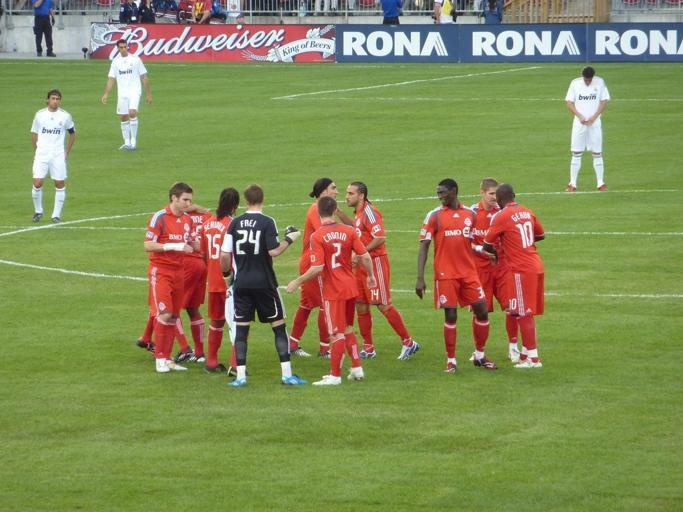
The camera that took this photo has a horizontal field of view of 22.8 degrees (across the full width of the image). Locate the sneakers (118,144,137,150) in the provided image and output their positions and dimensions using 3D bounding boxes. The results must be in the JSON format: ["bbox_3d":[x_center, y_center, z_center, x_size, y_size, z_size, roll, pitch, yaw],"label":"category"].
[{"bbox_3d":[-6.017,-2.944,47.149,0.497,0.193,0.168,7,12,41],"label":"sneakers"}]

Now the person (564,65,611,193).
[{"bbox_3d":[5.987,-2.984,41.143,1.053,3.024,1.330,-2,6,7],"label":"person"}]
